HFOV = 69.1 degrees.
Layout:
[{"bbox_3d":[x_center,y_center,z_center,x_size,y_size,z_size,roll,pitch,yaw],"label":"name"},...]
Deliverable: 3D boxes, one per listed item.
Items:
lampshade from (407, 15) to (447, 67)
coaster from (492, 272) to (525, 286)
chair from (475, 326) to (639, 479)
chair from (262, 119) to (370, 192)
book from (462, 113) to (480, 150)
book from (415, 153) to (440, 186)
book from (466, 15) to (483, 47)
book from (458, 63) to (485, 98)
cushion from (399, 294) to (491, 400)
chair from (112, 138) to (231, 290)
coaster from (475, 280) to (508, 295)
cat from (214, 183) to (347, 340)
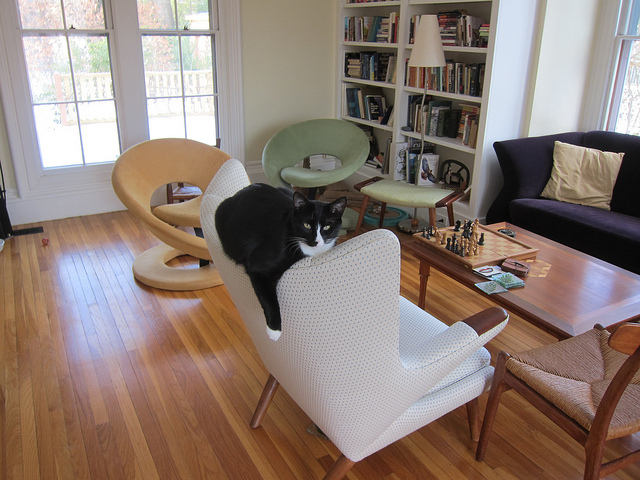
[{"bbox_3d":[0.894,-1.658,3.879,0.272,0.411,0.209,-10,24,-19],"label":"lampshade"},{"bbox_3d":[1.024,0.213,2.541,0.080,0.020,0.082,-15,30,-24],"label":"coaster"},{"bbox_3d":[1.044,0.733,2.032,0.367,0.692,0.452,-16,40,-14],"label":"chair"},{"bbox_3d":[-0.058,-0.877,4.645,1.015,0.849,0.954,23,29,40],"label":"chair"},{"bbox_3d":[1.349,-0.983,4.166,0.058,0.280,0.246,7,19,10],"label":"book"},{"bbox_3d":[1.067,-0.706,4.635,0.292,0.303,0.098,-11,26,-20],"label":"book"},{"bbox_3d":[1.340,-1.808,4.010,0.168,0.233,0.099,-12,25,-23],"label":"book"},{"bbox_3d":[1.318,-1.411,4.077,0.079,0.263,0.279,-13,26,-25],"label":"book"},{"bbox_3d":[0.542,0.528,2.204,0.293,0.452,0.322,0,20,-18],"label":"cushion"},{"bbox_3d":[-1.057,-0.251,3.653,0.960,0.955,1.000,3,21,0],"label":"chair"},{"bbox_3d":[0.911,0.251,2.481,0.081,0.011,0.073,-14,25,-28],"label":"coaster"},{"bbox_3d":[-0.145,0.003,1.802,0.420,0.623,0.486,2,20,-7],"label":"cat"}]
